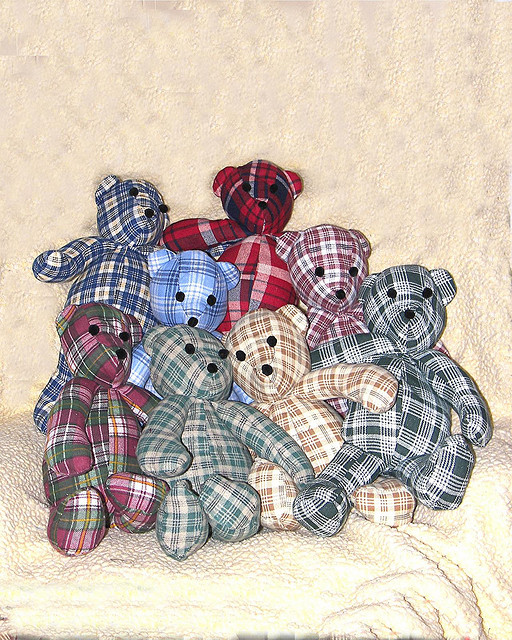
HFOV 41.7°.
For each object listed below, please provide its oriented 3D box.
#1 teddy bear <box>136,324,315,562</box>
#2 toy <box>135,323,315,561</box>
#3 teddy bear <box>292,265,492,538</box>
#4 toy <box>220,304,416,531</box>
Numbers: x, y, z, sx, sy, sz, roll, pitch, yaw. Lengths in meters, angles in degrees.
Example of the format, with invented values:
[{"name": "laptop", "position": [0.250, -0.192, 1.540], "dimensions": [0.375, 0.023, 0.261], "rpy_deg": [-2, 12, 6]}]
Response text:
[{"name": "teddy bear", "position": [-0.084, 0.237, 1.368], "dimensions": [0.421, 0.416, 0.387], "rpy_deg": [6, 4, 18]}, {"name": "toy", "position": [-0.097, 0.238, 1.373], "dimensions": [0.417, 0.416, 0.376], "rpy_deg": [7, 3, 29]}, {"name": "teddy bear", "position": [0.299, 0.155, 1.424], "dimensions": [0.384, 0.479, 0.476], "rpy_deg": [6, 26, 3]}, {"name": "toy", "position": [0.063, 0.196, 1.422], "dimensions": [0.427, 0.403, 0.340], "rpy_deg": [-20, 0, 9]}]
